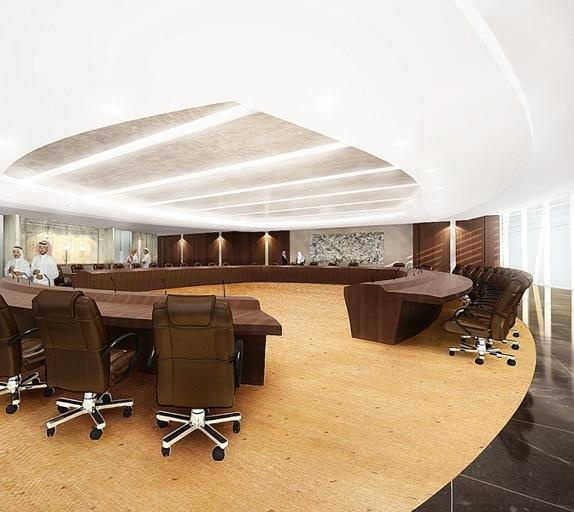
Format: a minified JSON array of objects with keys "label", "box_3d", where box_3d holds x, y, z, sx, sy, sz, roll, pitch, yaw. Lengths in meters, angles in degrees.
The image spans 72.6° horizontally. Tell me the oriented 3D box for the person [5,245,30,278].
[{"label":"person","box_3d":[-4.723,0.106,6.863,0.362,0.526,1.164,-6,10,-34]}]
